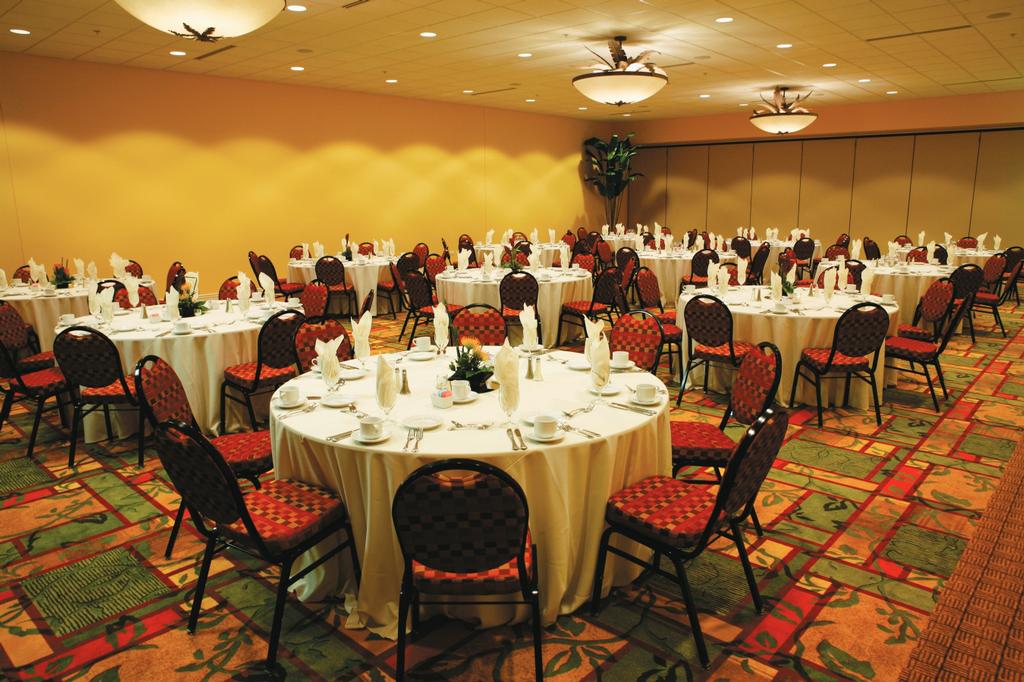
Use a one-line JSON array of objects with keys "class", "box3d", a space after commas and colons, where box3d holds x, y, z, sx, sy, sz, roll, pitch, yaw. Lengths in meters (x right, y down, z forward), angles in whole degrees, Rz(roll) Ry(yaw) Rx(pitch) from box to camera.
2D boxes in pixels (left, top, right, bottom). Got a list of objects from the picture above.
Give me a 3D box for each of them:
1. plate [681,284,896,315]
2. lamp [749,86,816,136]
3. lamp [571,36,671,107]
[{"class": "plate", "box3d": [3.060, -0.447, 7.222, 1.037, 0.221, 1.049, 3, 8, 43]}, {"class": "lamp", "box3d": [5.091, -4.096, 12.003, 1.220, 0.709, 1.086, 8, -7, 2]}, {"class": "lamp", "box3d": [1.364, -3.431, 8.165, 1.063, 0.834, 1.475, 0, 13, 6]}]
